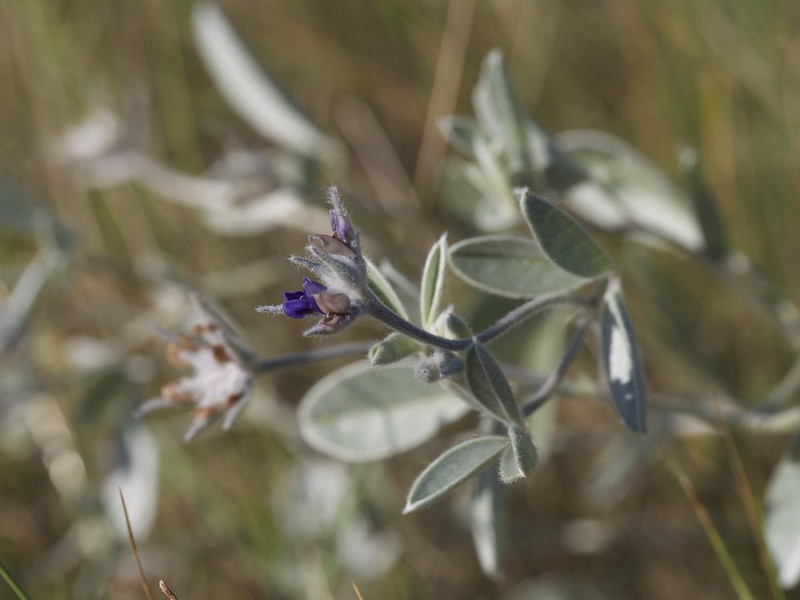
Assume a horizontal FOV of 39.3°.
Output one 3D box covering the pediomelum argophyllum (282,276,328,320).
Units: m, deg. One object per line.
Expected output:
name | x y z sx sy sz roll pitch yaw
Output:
pediomelum argophyllum | -0.143 -0.003 1.718 0.049 0.025 0.056 -28 10 -10
